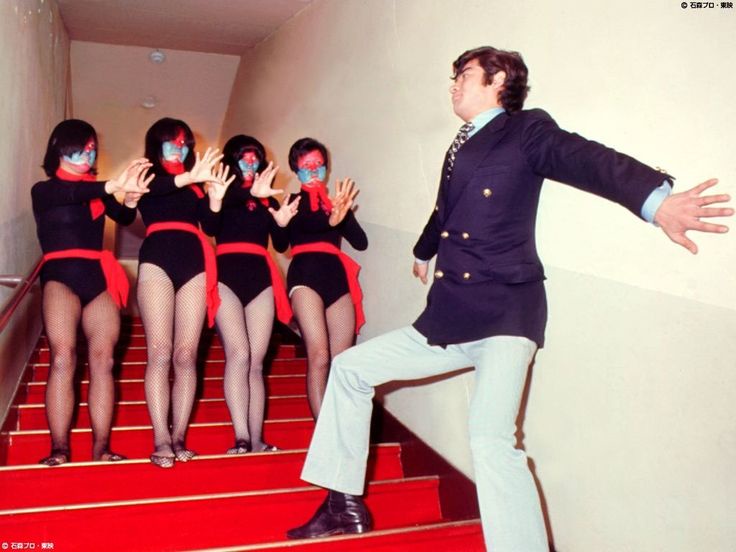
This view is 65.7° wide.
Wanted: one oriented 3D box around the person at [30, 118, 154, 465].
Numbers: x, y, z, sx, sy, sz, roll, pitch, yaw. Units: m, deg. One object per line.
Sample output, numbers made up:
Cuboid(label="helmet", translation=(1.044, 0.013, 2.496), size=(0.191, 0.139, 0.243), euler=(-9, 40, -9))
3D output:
Cuboid(label="person", translation=(-1.283, 0.037, 2.652), size=(0.493, 1.496, 0.929), euler=(-1, 11, -31))

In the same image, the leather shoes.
Cuboid(label="leather shoes", translation=(-0.109, 0.833, 2.001), size=(0.316, 0.234, 0.134), euler=(-1, -18, 9))

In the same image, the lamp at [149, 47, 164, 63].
Cuboid(label="lamp", translation=(-2.129, -2.243, 5.737), size=(0.160, 0.087, 0.153), euler=(-5, -28, 3))

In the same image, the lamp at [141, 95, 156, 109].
Cuboid(label="lamp", translation=(-2.499, -2.000, 6.506), size=(0.115, 0.142, 0.160), euler=(11, 11, 31))
